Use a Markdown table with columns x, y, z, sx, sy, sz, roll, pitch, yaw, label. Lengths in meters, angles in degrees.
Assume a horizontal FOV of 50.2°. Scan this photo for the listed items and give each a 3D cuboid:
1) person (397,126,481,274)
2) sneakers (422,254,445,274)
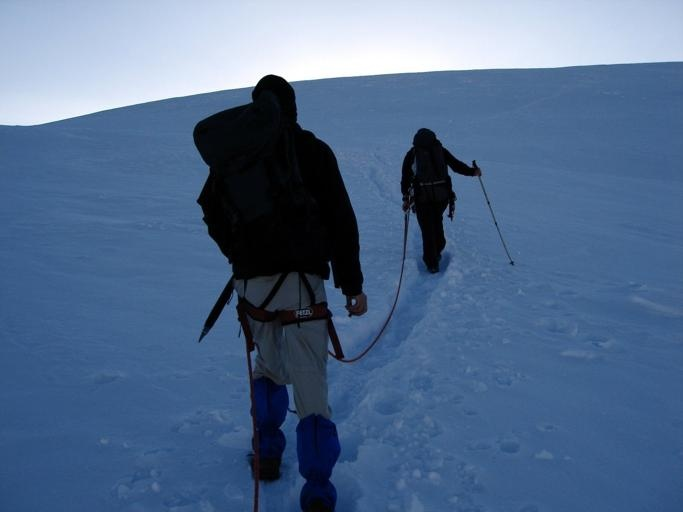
| x | y | z | sx | sy | sz | roll | pitch | yaw | label |
| --- | --- | --- | --- | --- | --- | --- | --- | --- | --- |
| 1.547 | -0.943 | 11.994 | 1.074 | 2.347 | 0.563 | -8 | 10 | -3 | person |
| 1.556 | 0.174 | 12.148 | 0.167 | 0.221 | 0.511 | -1 | -5 | -3 | sneakers |
